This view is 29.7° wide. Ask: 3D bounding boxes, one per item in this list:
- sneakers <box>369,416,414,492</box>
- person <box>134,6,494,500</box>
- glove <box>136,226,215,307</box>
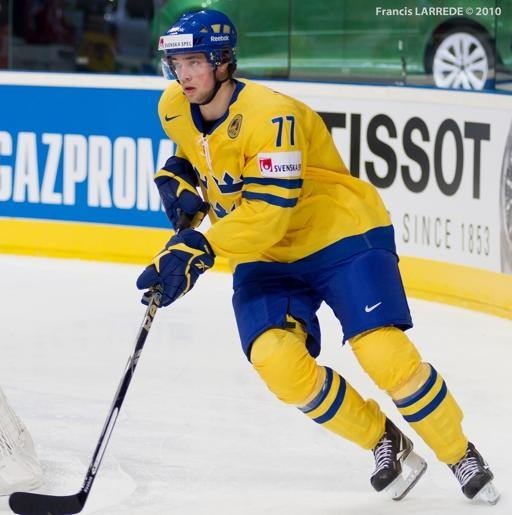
[{"bbox_3d":[0.376,0.553,2.732,0.089,0.076,0.225,49,27,-4],"label":"sneakers"},{"bbox_3d":[0.165,-0.021,2.783,0.967,1.340,0.584,1,15,5],"label":"person"},{"bbox_3d":[-0.217,0.032,2.727,0.147,0.260,0.101,51,7,22],"label":"glove"}]
